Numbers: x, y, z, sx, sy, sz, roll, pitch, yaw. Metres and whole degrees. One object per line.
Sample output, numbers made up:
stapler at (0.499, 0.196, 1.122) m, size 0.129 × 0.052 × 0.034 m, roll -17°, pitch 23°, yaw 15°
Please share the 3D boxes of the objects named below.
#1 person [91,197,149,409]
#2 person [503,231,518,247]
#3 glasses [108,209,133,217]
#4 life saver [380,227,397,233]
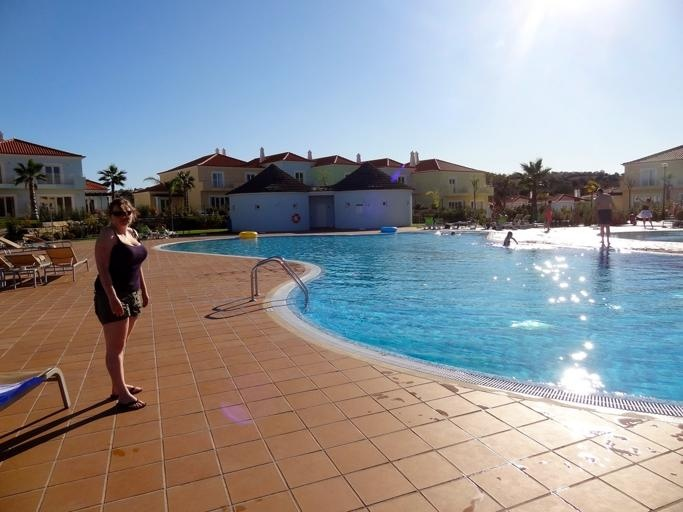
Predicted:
person at (-2.231, 0.504, 3.761) m, size 0.502 × 2.166 × 0.699 m, roll -6°, pitch 7°, yaw -31°
person at (8.962, -0.909, 19.562) m, size 0.647 × 0.781 × 2.469 m, roll 2°, pitch 9°, yaw 27°
glasses at (-2.174, -0.407, 3.617) m, size 0.191 × 0.059 × 0.099 m, roll -7°, pitch 9°, yaw -34°
life saver at (3.752, -2.009, 29.666) m, size 0.805 × 0.330 × 0.858 m, roll 0°, pitch 6°, yaw 24°
